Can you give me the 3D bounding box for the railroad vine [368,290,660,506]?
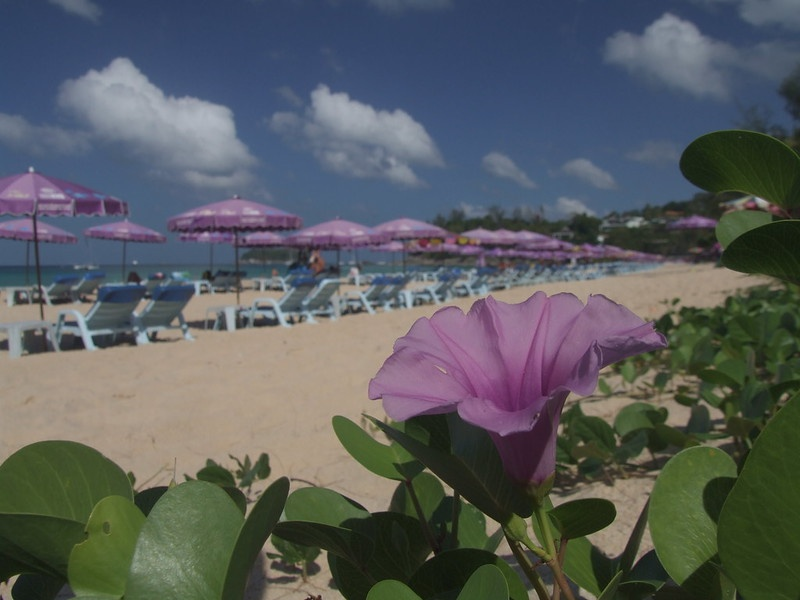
[{"bbox_3d":[0.158,0.123,0.858,0.293,0.184,0.315,-32,12,-15],"label":"railroad vine"}]
